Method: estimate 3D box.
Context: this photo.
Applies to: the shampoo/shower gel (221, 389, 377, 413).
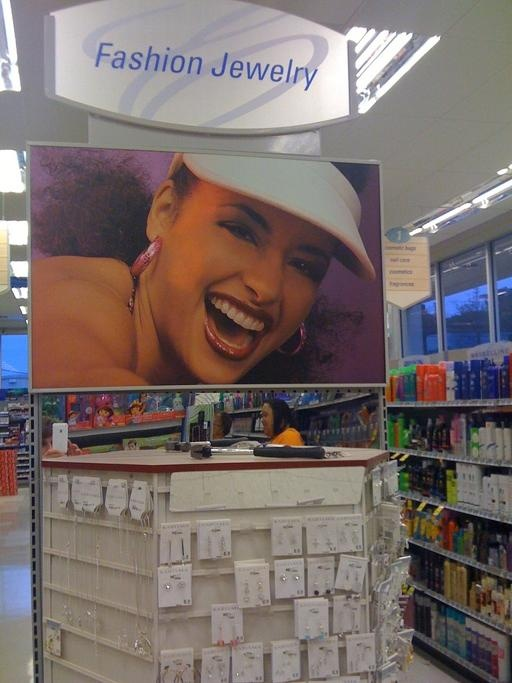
[{"bbox_3d":[0.151,0.257,2.506,0.499,0.097,0.041,3,-4,-19],"label":"shampoo/shower gel"}]
